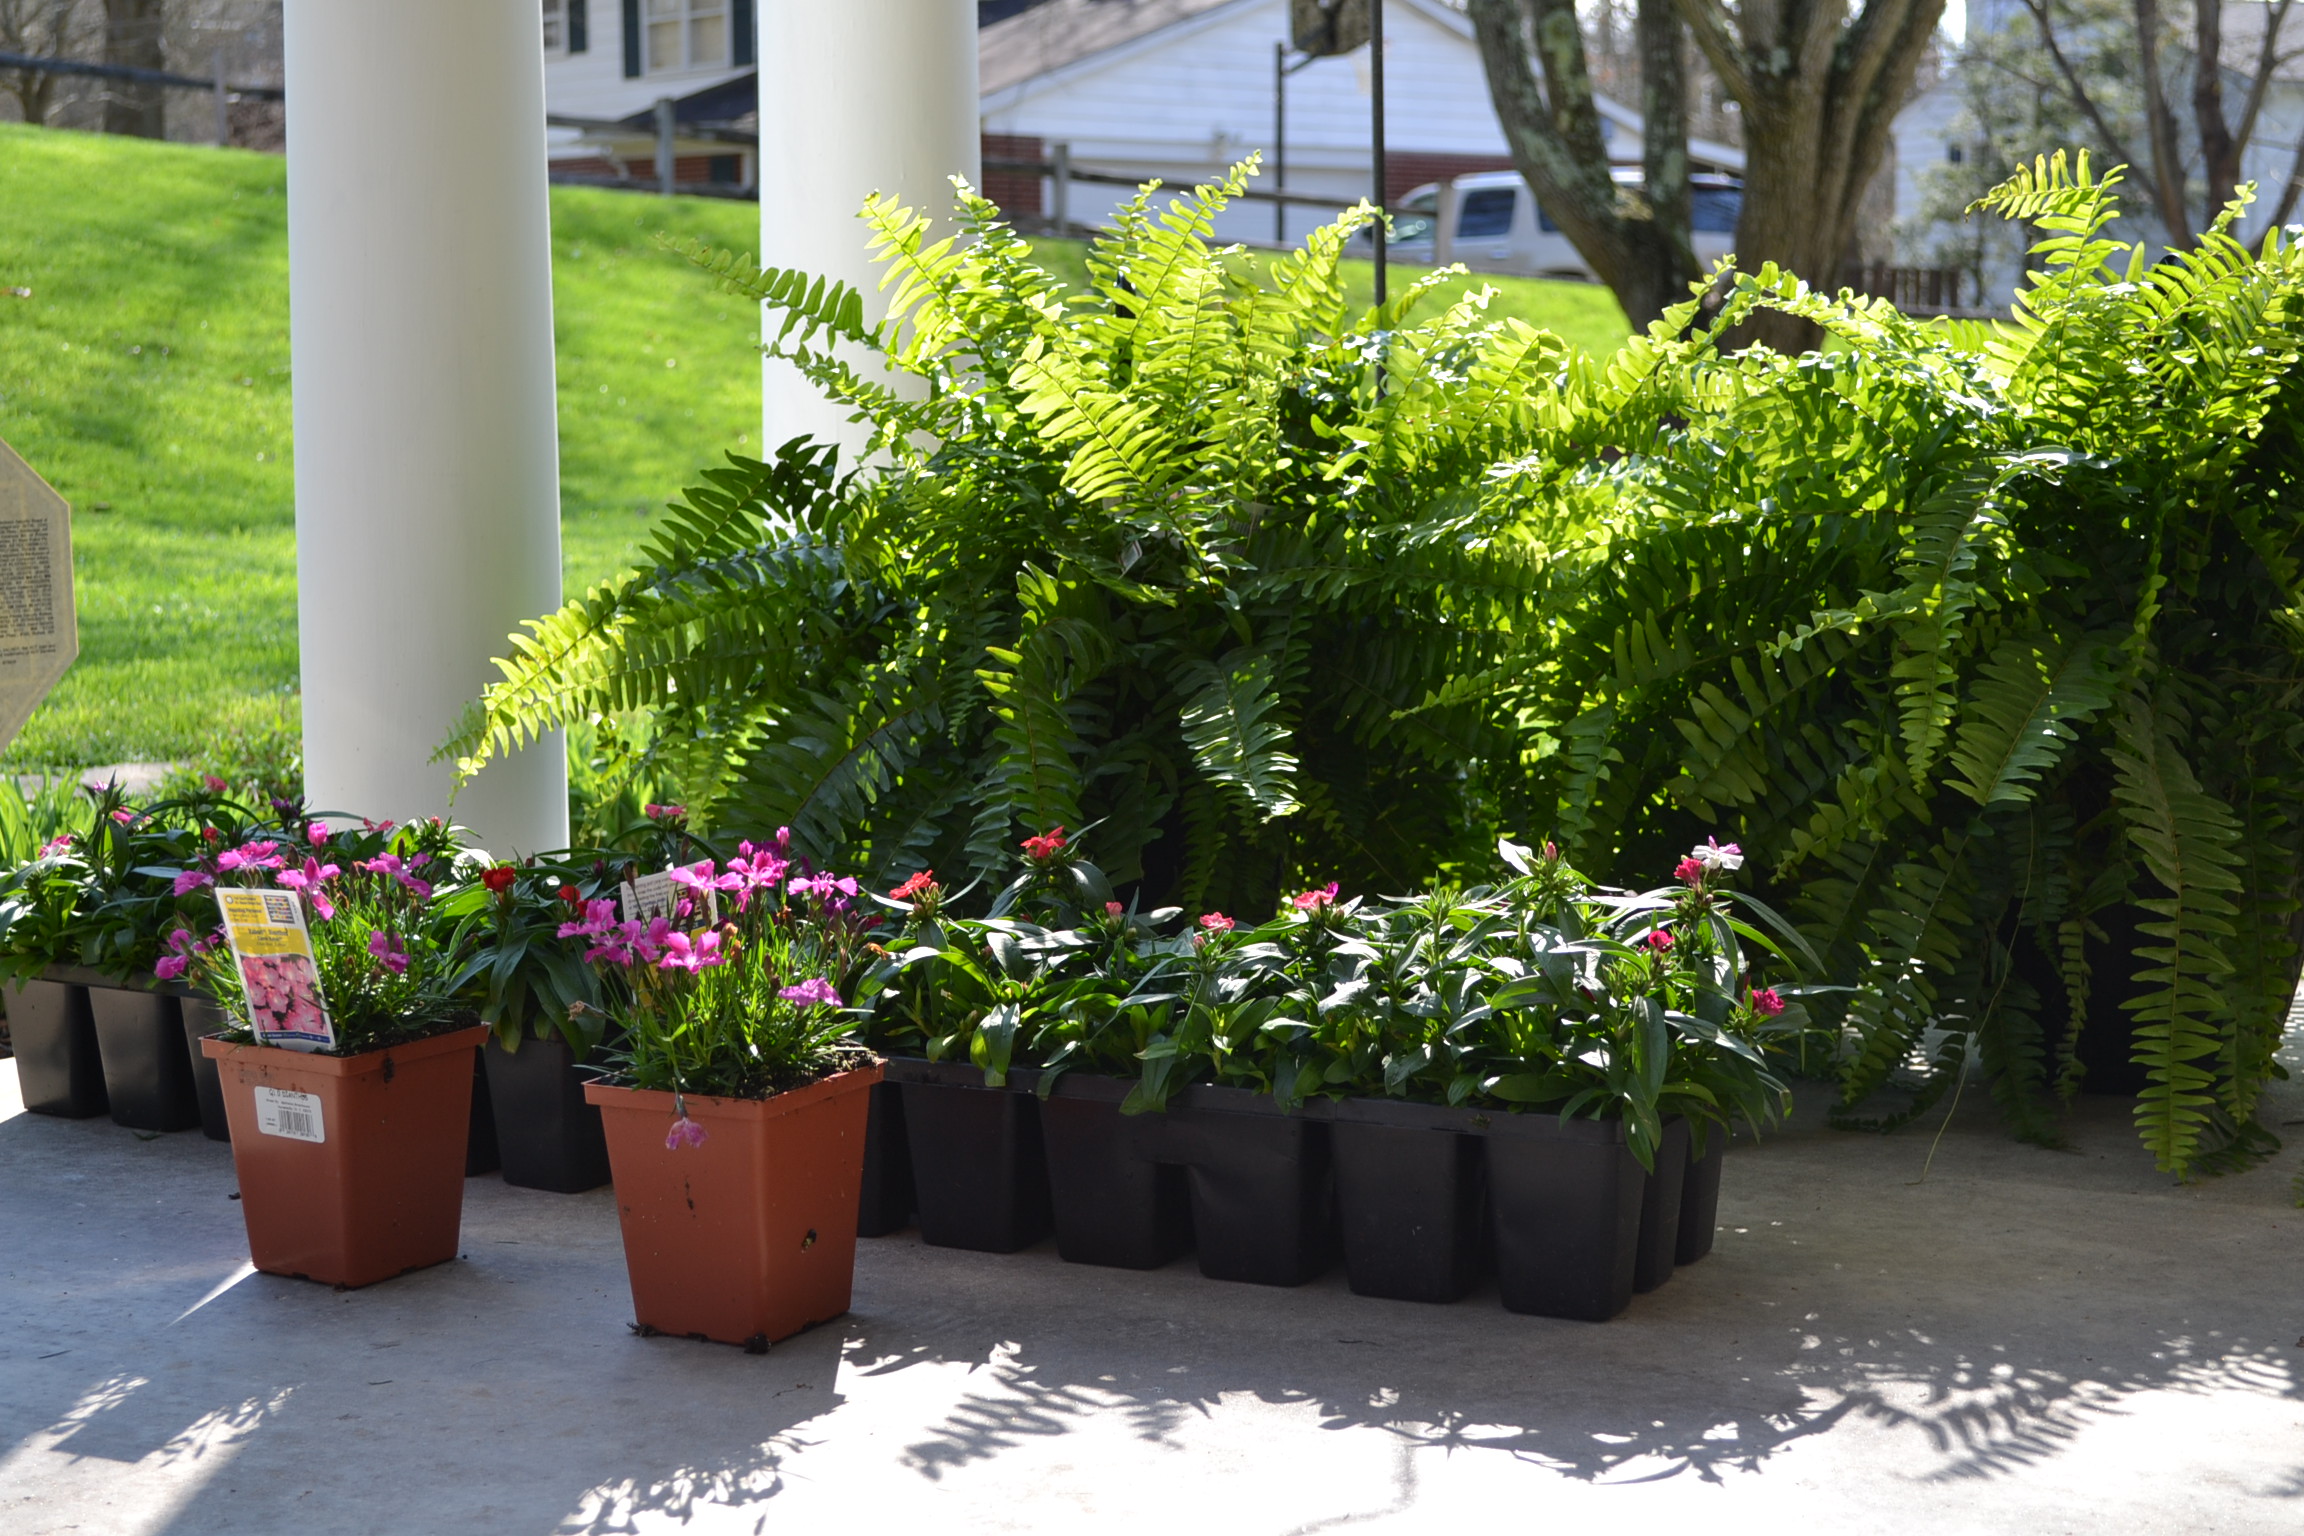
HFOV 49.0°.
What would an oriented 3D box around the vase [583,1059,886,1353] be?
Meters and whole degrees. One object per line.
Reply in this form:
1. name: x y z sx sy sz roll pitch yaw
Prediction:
1. vase: -0.658 0.691 4.058 0.350 0.418 0.441 -1 0 11
